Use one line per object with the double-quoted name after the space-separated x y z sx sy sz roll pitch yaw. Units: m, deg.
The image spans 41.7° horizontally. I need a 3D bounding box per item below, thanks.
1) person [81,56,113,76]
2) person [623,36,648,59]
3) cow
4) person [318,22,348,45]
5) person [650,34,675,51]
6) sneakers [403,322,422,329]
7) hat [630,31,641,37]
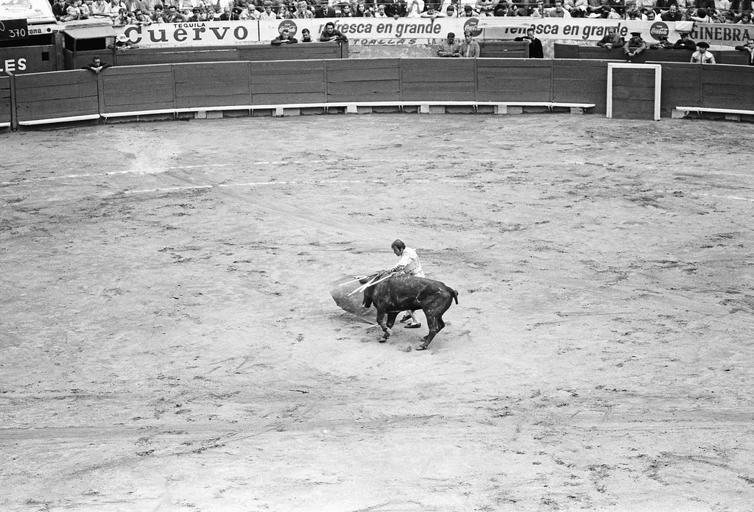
-9.164 -6.134 32.299 1.134 0.439 1.086 -6 16 -17 "person"
9.522 -7.622 36.508 0.996 0.482 1.128 2 20 19 "person"
0.523 0.987 17.834 1.671 1.306 0.629 5 16 31 "cow"
-1.715 -8.514 38.115 1.118 0.309 1.124 0 -4 7 "person"
10.702 -7.980 37.150 0.868 0.613 1.542 1 10 15 "person"
0.675 1.291 18.473 0.395 0.090 0.102 2 28 9 "sneakers"
9.957 -8.423 37.774 0.514 0.210 0.426 4 8 25 "hat"
